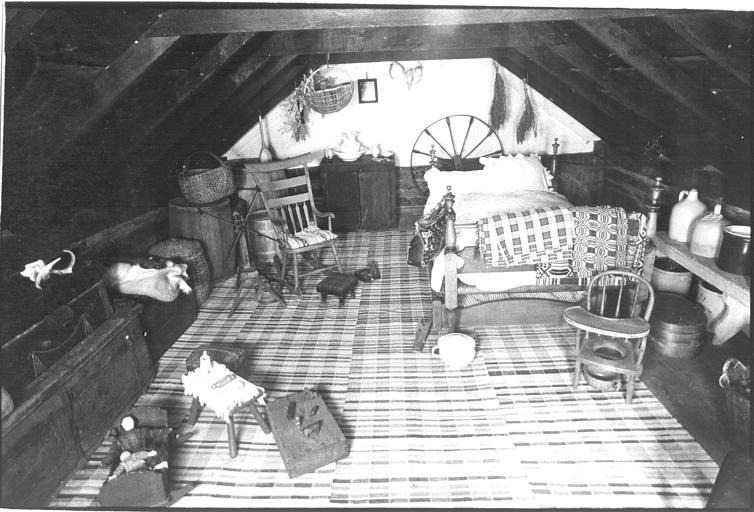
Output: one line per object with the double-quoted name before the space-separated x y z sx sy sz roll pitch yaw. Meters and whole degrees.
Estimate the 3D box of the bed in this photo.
"bed" 1.397 0.203 5.474 1.918 1.063 2.449 -3 -11 4

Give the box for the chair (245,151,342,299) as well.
"chair" -0.762 -0.318 5.456 0.778 1.218 0.703 -19 28 -31

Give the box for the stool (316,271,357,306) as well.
"stool" -0.373 0.255 5.226 0.316 0.238 0.328 10 33 18

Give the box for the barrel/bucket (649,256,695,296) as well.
"barrel/bucket" 2.435 0.152 4.626 0.327 0.232 0.317 -1 20 0

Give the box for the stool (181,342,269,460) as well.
"stool" -1.048 1.025 3.791 0.546 0.359 0.336 25 36 33

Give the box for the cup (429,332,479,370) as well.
"cup" 0.603 0.730 4.325 0.372 0.243 0.248 -1 18 5

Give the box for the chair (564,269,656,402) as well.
"chair" 1.681 0.569 4.025 0.659 0.821 0.637 1 15 6

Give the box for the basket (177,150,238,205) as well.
"basket" -1.693 -0.760 5.431 0.482 0.455 0.460 -14 31 12

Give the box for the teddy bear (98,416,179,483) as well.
"teddy bear" -1.525 1.216 3.539 0.359 0.170 0.447 -2 21 -11

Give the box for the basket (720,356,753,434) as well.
"basket" 2.210 0.876 3.399 0.183 0.399 0.445 10 22 33

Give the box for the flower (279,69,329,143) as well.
"flower" -0.878 -1.790 6.539 0.279 0.734 0.447 -16 43 -32
